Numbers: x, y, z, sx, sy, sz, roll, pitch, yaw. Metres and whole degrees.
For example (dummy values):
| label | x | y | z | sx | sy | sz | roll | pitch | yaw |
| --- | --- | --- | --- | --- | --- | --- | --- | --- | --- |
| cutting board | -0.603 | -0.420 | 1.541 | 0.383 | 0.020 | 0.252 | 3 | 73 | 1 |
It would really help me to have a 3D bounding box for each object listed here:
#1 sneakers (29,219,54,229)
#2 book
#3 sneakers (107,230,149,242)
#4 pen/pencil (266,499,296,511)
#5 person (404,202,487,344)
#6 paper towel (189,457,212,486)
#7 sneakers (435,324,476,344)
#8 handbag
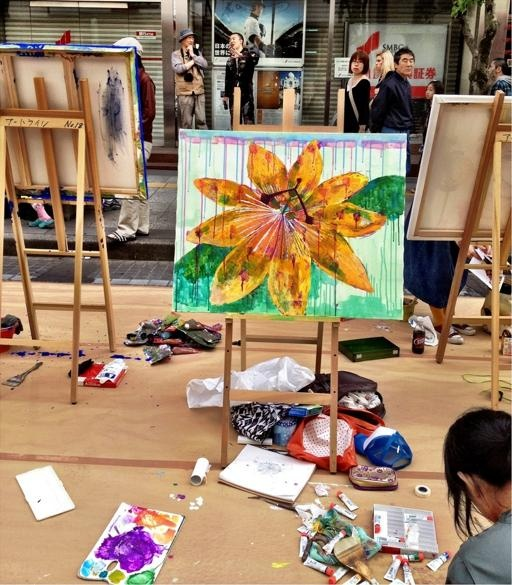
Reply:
| label | x | y | z | sx | sy | sz | roll | pitch | yaw |
| --- | --- | --- | --- | --- | --- | --- | --- | --- | --- |
| sneakers | -2.509 | -0.816 | 6.131 | 0.201 | 0.079 | 0.235 | -5 | 13 | -40 |
| book | 0.057 | 0.747 | 2.174 | 0.326 | 0.054 | 0.316 | 7 | 19 | 22 |
| sneakers | -1.340 | -0.577 | 5.445 | 0.147 | 0.169 | 0.434 | 5 | 1 | 39 |
| pen/pencil | 0.100 | 0.808 | 1.983 | 0.075 | 0.012 | 0.028 | 9 | -1 | 17 |
| person | 1.260 | -0.081 | 3.655 | 0.452 | 0.841 | 0.478 | 5 | 20 | 16 |
| paper towel | -0.224 | 0.737 | 2.137 | 0.051 | 0.029 | 0.090 | 31 | 17 | -3 |
| sneakers | 1.400 | 0.293 | 3.746 | 0.129 | 0.131 | 0.359 | -5 | 7 | -13 |
| handbag | 0.363 | 0.618 | 2.421 | 0.506 | 0.136 | 0.416 | -4 | 15 | -23 |
